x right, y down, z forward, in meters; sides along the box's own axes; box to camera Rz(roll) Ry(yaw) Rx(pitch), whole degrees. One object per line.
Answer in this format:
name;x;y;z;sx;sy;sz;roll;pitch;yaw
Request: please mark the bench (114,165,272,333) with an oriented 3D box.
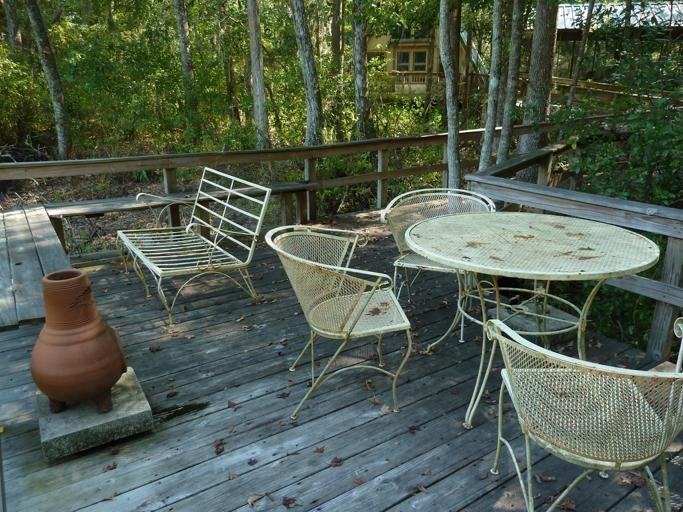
bench;-1.459;-0.173;4.853;1.124;0.877;1.719;-21;27;-28
